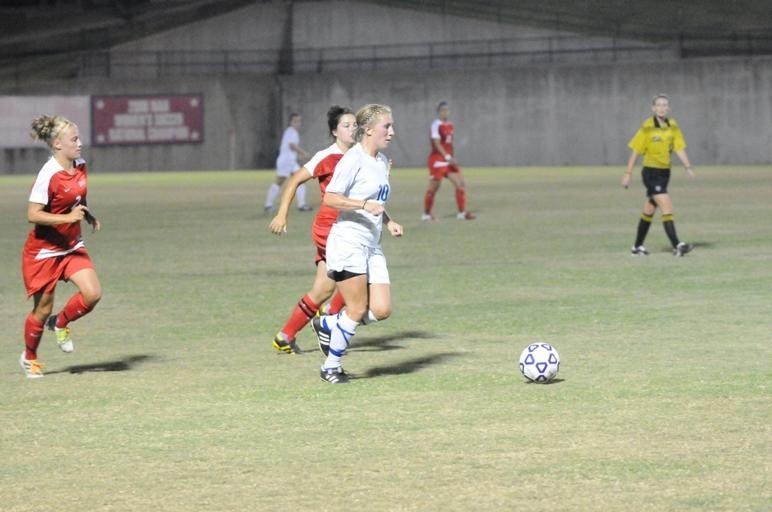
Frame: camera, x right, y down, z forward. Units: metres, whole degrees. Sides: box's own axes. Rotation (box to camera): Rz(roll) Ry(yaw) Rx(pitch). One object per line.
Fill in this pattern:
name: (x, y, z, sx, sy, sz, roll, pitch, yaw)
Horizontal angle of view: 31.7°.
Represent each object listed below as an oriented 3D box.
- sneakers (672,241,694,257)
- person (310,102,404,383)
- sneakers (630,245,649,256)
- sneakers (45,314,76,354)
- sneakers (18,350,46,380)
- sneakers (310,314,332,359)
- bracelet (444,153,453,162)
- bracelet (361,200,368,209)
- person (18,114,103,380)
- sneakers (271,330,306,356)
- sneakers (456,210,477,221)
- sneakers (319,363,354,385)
sneakers: (4.757, -0.111, 22.021, 0.162, 0.187, 0.401, -36, -5, -7)
person: (-0.332, -0.140, 15.459, 0.860, 3.143, 1.022, -2, 7, -18)
sneakers: (4.114, -0.089, 22.210, 0.299, 0.102, 0.123, 1, 12, 26)
sneakers: (-3.896, 0.932, 16.238, 0.247, 0.514, 0.187, -14, 23, 47)
sneakers: (-4.142, 1.272, 15.731, 0.460, 0.161, 0.182, 6, 6, 42)
sneakers: (-0.778, 0.936, 16.216, 0.275, 0.520, 0.208, -11, 11, 16)
bracelet: (1.273, -1.987, 27.556, 0.135, 0.135, 0.213, 5, 7, 34)
bracelet: (-0.243, -0.570, 15.047, 0.035, 0.080, 0.070, 22, 7, -6)
person: (-3.765, -0.109, 15.638, 0.908, 2.999, 0.971, -1, 7, -12)
sneakers: (-1.219, 1.061, 16.481, 0.465, 0.194, 0.160, 21, 1, -34)
sneakers: (1.609, -0.832, 28.214, 0.474, 0.160, 0.147, -2, 4, 22)
sneakers: (-0.586, 1.354, 15.476, 0.407, 0.134, 0.145, 1, -2, 3)
